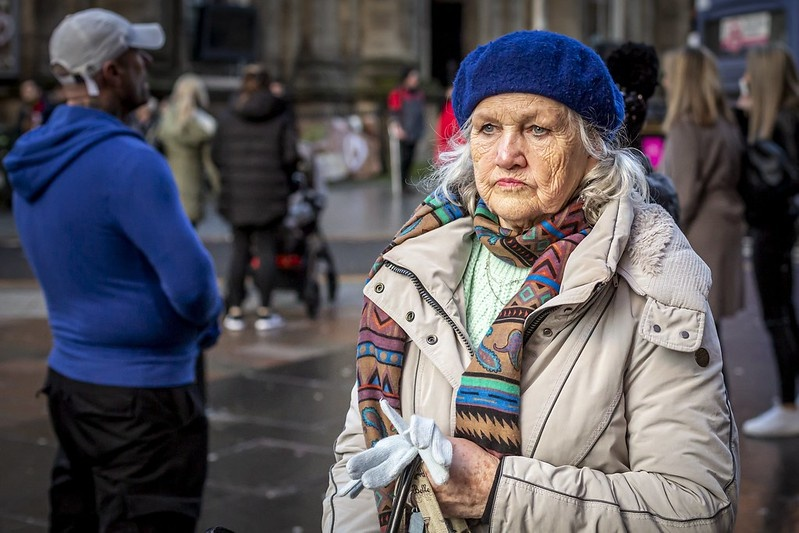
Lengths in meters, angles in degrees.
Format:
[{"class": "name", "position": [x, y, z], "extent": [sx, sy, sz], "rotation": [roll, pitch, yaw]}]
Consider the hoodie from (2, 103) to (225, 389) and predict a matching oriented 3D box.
[{"class": "hoodie", "position": [-1.343, -0.180, 5.148], "extent": [0.936, 1.557, 1.239], "rotation": [-9, 5, -39]}]

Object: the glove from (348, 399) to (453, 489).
[{"class": "glove", "position": [0.006, 0.693, 4.001], "extent": [0.276, 0.107, 0.315], "rotation": [21, 61, 42]}]

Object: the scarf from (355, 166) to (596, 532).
[{"class": "scarf", "position": [0.357, 0.380, 4.283], "extent": [0.343, 1.316, 0.857], "rotation": [16, -8, -39]}]
